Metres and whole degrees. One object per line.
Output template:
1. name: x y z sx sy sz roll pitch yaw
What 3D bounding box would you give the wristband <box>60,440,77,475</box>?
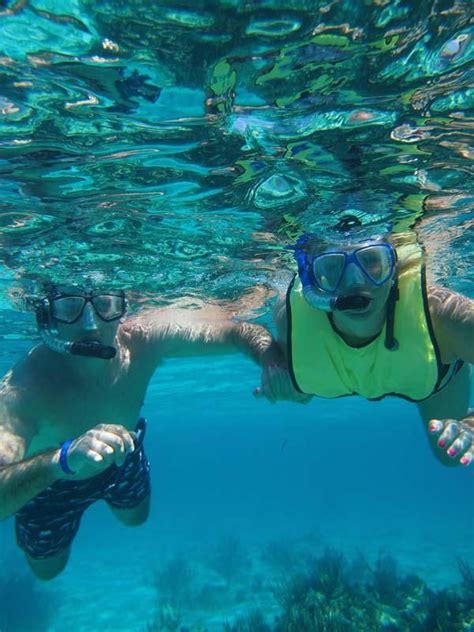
1. wristband: -1.677 1.391 6.035 0.160 0.324 0.185 4 -16 -5
